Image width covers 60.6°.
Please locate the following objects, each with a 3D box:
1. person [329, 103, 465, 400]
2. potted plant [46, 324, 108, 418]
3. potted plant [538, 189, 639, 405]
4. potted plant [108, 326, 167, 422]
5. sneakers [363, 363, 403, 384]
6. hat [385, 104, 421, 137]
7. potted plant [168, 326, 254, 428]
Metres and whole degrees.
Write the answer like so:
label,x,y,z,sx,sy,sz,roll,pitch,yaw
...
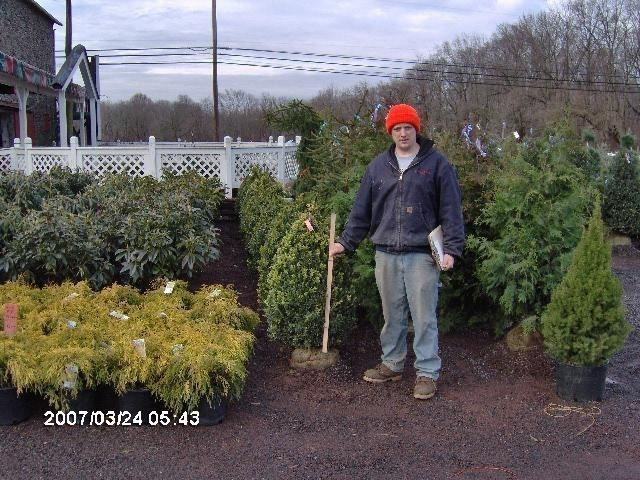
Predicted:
label,x,y,z,sx,sy,sz,roll,pitch,yaw
person,0.820,0.118,5.282,1.118,2.798,0.405,0,2,26
potted plant,-2.295,1.181,5.070,0.558,0.674,0.631,-2,2,-29
potted plant,2.501,0.575,5.142,0.742,1.858,0.344,0,2,25
potted plant,-1.722,1.274,5.005,0.495,0.686,0.294,1,2,29
sneakers,0.633,1.323,5.581,0.341,0.190,0.187,3,1,4
hat,0.779,-1.128,5.236,0.232,0.253,0.289,-1,5,1
potted plant,-1.067,1.238,5.112,0.817,0.746,0.683,-1,2,-19
